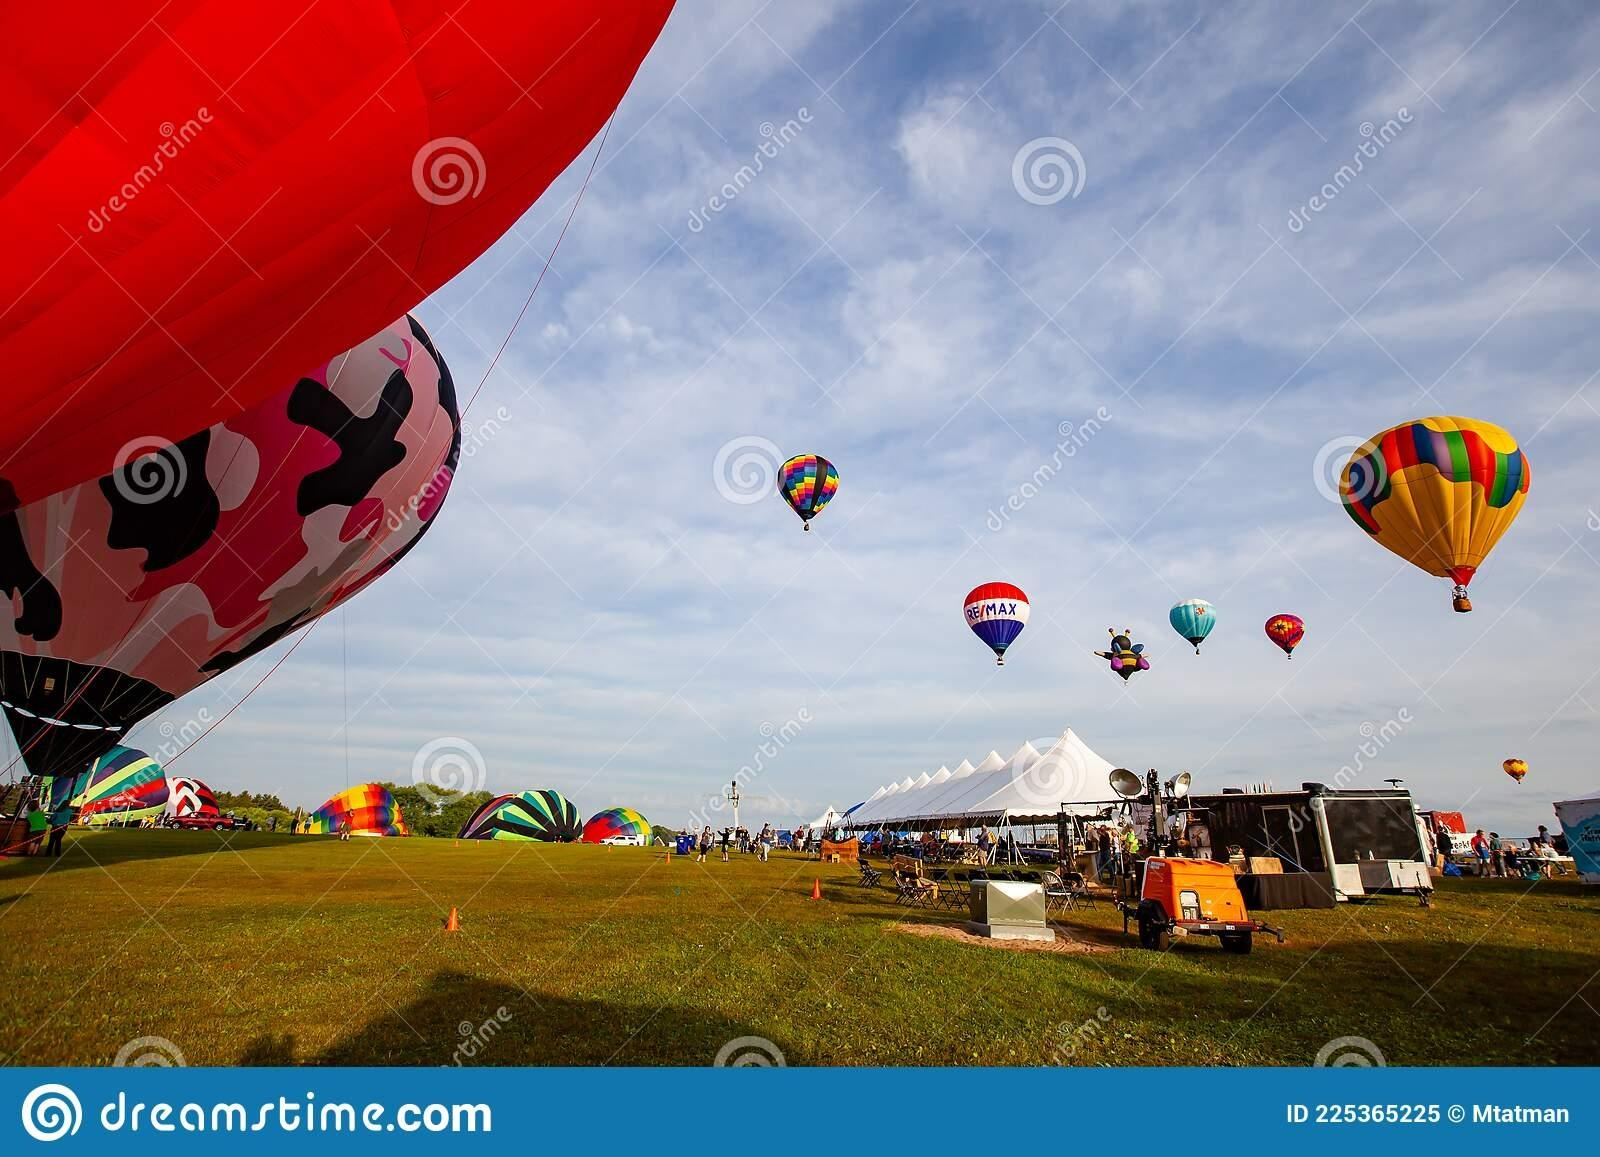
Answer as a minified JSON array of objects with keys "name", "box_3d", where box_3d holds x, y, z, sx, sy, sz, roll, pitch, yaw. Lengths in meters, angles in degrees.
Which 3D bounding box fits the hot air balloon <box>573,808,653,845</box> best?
[{"name":"hot air balloon","box_3d":[-11.589,15.755,69.776,3.963,2.233,3.052,5,-19,-16]}]

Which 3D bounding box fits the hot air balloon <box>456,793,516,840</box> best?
[{"name":"hot air balloon","box_3d":[-18.650,14.315,65.716,2.132,2.330,3.256,5,-19,-15]}]

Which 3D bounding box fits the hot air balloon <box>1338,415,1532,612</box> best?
[{"name":"hot air balloon","box_3d":[14.521,-1.894,24.803,2.849,4.071,3.067,-4,-24,2]}]
